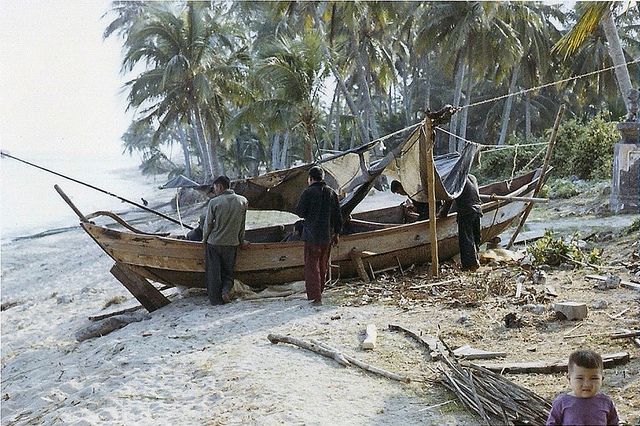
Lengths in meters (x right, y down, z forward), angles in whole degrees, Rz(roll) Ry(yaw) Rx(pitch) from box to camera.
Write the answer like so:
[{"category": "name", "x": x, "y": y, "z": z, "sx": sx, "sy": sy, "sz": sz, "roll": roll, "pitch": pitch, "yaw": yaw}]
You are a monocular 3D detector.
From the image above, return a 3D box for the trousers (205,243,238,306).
[{"category": "trousers", "x": -2.537, "y": 1.568, "z": 16.979, "sx": 0.786, "sy": 1.517, "sz": 0.816, "roll": 2, "pitch": -2, "yaw": 6}]

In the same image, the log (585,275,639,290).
[{"category": "log", "x": 6.948, "y": 1.644, "z": 15.901, "sx": 0.212, "sy": 0.195, "sz": 1.243, "roll": -19, "pitch": 16, "yaw": -42}]

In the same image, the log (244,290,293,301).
[{"category": "log", "x": -1.266, "y": 2.098, "z": 16.844, "sx": 1.204, "sy": 0.137, "sz": 0.201, "roll": -10, "pitch": 12, "yaw": -11}]

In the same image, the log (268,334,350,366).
[{"category": "log", "x": -0.254, "y": 2.961, "z": 14.725, "sx": 2.034, "sy": 0.389, "sz": 0.304, "roll": 14, "pitch": 31, "yaw": 19}]

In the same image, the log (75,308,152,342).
[{"category": "log", "x": -5.327, "y": 2.815, "z": 17.351, "sx": 2.075, "sy": 0.547, "sz": 1.238, "roll": -16, "pitch": 14, "yaw": -14}]

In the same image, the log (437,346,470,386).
[{"category": "log", "x": 2.715, "y": 3.130, "z": 13.741, "sx": 0.163, "sy": 0.194, "sz": 1.118, "roll": -17, "pitch": 40, "yaw": -11}]

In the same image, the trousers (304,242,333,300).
[{"category": "trousers", "x": -0.070, "y": 1.290, "z": 16.572, "sx": 0.449, "sy": 1.770, "sz": 0.639, "roll": -19, "pitch": -25, "yaw": 34}]

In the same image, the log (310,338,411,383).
[{"category": "log", "x": 0.875, "y": 3.195, "z": 14.245, "sx": 1.625, "sy": 0.180, "sz": 0.174, "roll": 22, "pitch": 36, "yaw": 26}]

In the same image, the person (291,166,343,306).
[{"category": "person", "x": -0.056, "y": 0.544, "z": 16.496, "sx": 0.578, "sy": 3.271, "sz": 1.245, "roll": 4, "pitch": 18, "yaw": 44}]

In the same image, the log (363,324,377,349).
[{"category": "log", "x": 1.105, "y": 2.767, "z": 14.835, "sx": 0.226, "sy": 0.185, "sz": 0.764, "roll": 1, "pitch": 14, "yaw": 5}]

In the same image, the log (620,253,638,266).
[{"category": "log", "x": 7.691, "y": 1.165, "z": 16.699, "sx": 0.349, "sy": 0.127, "sz": 0.264, "roll": -34, "pitch": 0, "yaw": 15}]
